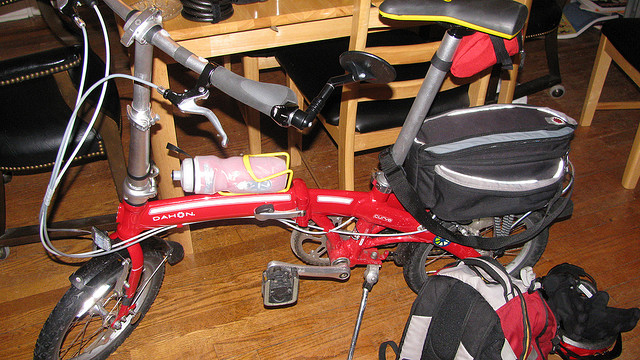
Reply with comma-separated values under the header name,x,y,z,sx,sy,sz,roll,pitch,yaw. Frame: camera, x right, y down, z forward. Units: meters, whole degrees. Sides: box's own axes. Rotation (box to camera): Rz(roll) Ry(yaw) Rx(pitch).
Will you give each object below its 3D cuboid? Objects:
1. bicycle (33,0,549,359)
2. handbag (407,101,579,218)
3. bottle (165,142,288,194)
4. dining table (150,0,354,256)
name,x,y,z,sx,sy,sz,roll,pitch,yaw
bicycle,-0.130,0.054,2.429,2.148,1.282,1.277,-8,53,-18
handbag,0.797,-0.101,2.448,0.883,0.424,0.443,-7,42,-13
bottle,-0.426,-0.040,2.289,0.554,0.224,0.166,3,31,-9
dining table,-0.346,-0.293,2.544,1.040,0.914,0.943,-6,51,-10
